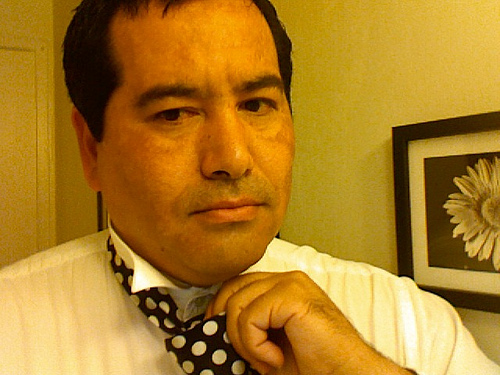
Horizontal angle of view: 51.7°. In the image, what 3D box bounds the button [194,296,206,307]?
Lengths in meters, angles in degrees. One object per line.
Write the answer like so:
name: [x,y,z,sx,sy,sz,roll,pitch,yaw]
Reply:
button: [-0.124,0.283,1.275,0.027,0.026,0.005,0,16,-6]
